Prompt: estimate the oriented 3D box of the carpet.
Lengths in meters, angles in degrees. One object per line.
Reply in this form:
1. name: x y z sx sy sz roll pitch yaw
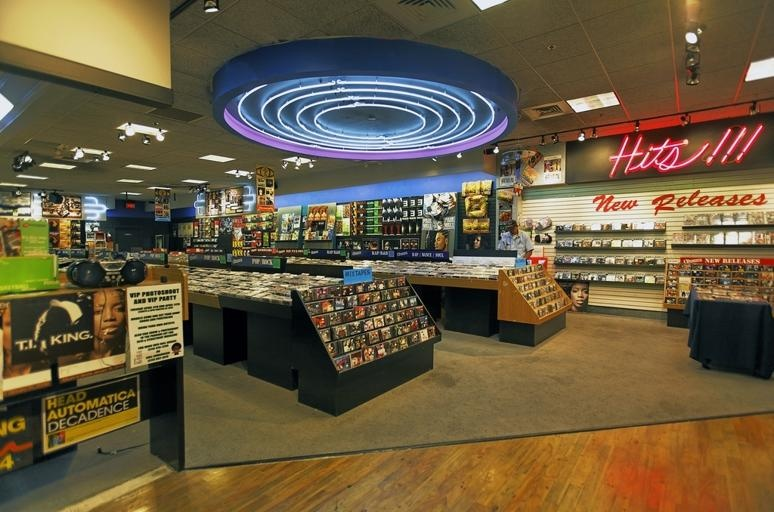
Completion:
1. carpet: 1.051 1.637 6.185 7.187 0.160 2.622 -1 11 -9
